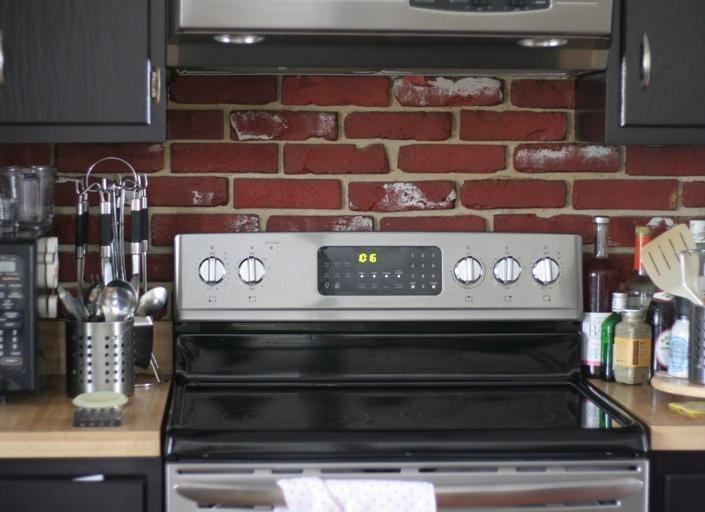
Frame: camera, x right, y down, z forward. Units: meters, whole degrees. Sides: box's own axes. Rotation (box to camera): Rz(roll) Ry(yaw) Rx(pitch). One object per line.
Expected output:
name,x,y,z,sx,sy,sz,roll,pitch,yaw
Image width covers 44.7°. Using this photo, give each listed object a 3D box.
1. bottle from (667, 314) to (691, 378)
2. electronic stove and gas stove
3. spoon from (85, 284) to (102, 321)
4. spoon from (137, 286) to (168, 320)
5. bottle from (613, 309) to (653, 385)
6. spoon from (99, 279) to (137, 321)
bottle,0.821,0.225,2.185,0.052,0.141,0.088,-2,0,-22
electronic stove and gas stove,0.108,0.365,2.080,1.079,0.112,0.313,-2,1,-2
spoon,-0.644,0.112,2.141,0.041,0.090,0.066,-2,1,-17
spoon,-0.529,0.118,2.249,0.077,0.080,0.051,-2,0,-15
bottle,0.758,0.230,2.265,0.149,0.182,0.091,-3,1,-41
spoon,-0.570,0.108,2.081,0.097,0.093,0.031,4,-5,-16
